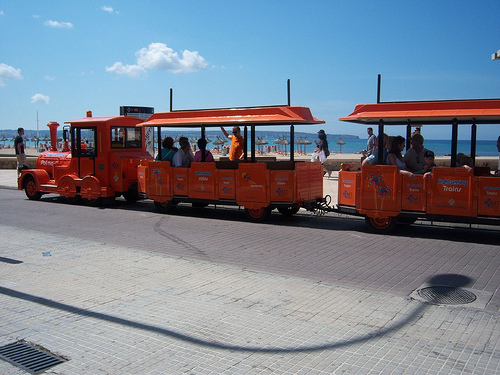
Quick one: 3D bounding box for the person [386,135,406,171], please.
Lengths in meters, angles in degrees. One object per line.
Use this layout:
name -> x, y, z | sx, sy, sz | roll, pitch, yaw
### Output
person -> 3.655, -0.855, 11.096 | 0.463, 0.801, 1.176 | 2, 7, 19

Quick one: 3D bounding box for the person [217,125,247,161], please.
person -> -0.517, -1.118, 13.878 | 0.770, 1.704, 0.474 | 0, -2, 24

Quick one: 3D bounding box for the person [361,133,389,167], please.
person -> 3.301, -0.976, 11.593 | 0.596, 0.798, 1.709 | 2, 7, 23

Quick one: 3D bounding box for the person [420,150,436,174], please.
person -> 4.383, -0.639, 10.966 | 0.318, 0.536, 1.581 | 2, 7, 22

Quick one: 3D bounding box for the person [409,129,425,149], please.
person -> 4.322, -1.263, 11.520 | 0.370, 0.474, 1.372 | 2, 7, 20
